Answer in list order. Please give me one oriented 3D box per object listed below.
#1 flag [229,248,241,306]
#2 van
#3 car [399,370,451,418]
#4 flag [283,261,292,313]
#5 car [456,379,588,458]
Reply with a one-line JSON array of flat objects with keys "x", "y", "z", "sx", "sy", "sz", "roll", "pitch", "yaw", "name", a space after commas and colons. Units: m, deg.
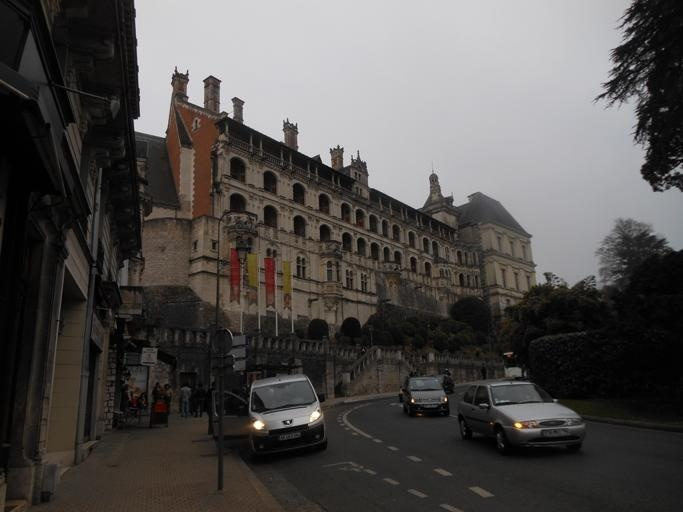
[{"x": -9.535, "y": 1.653, "z": 48.430, "sx": 0.813, "sy": 4.938, "sz": 3.780, "roll": -2, "pitch": -16, "yaw": -8, "name": "flag"}, {"x": -1.946, "y": 4.919, "z": 16.684, "sx": 2.816, "sy": 1.798, "sz": 3.891, "roll": 1, "pitch": -32, "yaw": -13, "name": "van"}, {"x": 3.845, "y": 6.414, "z": 24.282, "sx": 1.931, "sy": 1.895, "sz": 2.171, "roll": -7, "pitch": -16, "yaw": 7, "name": "car"}, {"x": -5.309, "y": 2.764, "z": 52.601, "sx": 0.680, "sy": 4.169, "sz": 1.777, "roll": -1, "pitch": -16, "yaw": -11, "name": "flag"}, {"x": 4.783, "y": 4.334, "z": 14.591, "sx": 1.782, "sy": 1.835, "sz": 3.406, "roll": 0, "pitch": -17, "yaw": -15, "name": "car"}]
